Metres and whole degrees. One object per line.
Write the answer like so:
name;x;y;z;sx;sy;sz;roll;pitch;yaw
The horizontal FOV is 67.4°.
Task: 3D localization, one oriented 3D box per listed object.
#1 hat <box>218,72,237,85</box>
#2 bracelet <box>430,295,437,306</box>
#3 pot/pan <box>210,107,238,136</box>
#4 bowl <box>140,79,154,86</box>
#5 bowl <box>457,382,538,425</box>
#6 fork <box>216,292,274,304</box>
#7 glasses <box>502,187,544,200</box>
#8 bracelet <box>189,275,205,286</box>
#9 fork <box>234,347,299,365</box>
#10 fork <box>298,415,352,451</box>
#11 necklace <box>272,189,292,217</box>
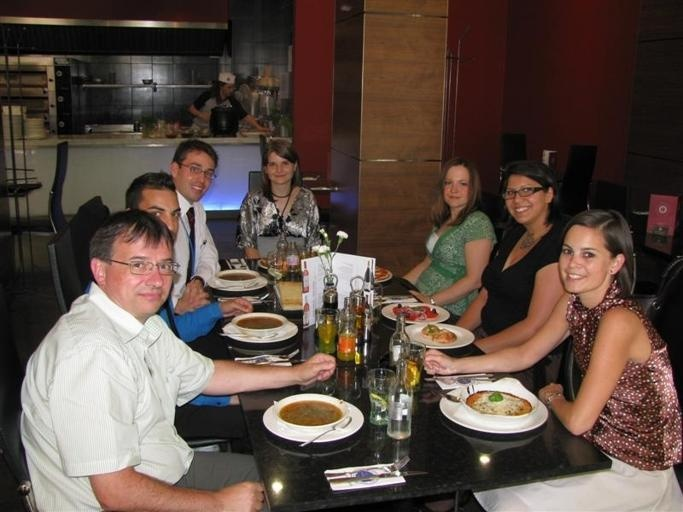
hat;-1.896;-2.937;8.505;0.227;0.219;0.316;-3;14;0
bracelet;0.533;0.261;2.989;0.024;0.056;0.048;-3;5;19
pot/pan;-1.801;-2.064;7.870;0.423;0.457;0.293;-6;16;-11
bowl;-4.117;-3.712;10.915;0.233;0.140;0.283;-7;15;-17
bowl;0.554;0.498;1.787;0.262;0.051;0.331;4;12;22
fork;-0.516;0.225;2.743;0.374;0.058;0.047;1;2;-8
glasses;0.971;-0.338;2.736;0.195;0.074;0.079;2;16;18
bracelet;-0.831;0.135;2.945;0.068;0.061;0.063;5;-17;5
fork;-0.295;0.403;2.045;0.152;0.031;0.081;2;11;-8
fork;-0.051;0.547;1.569;0.158;0.019;0.024;-18;17;-34
necklace;-0.439;-0.411;3.912;0.147;0.173;0.046;10;-5;-14
